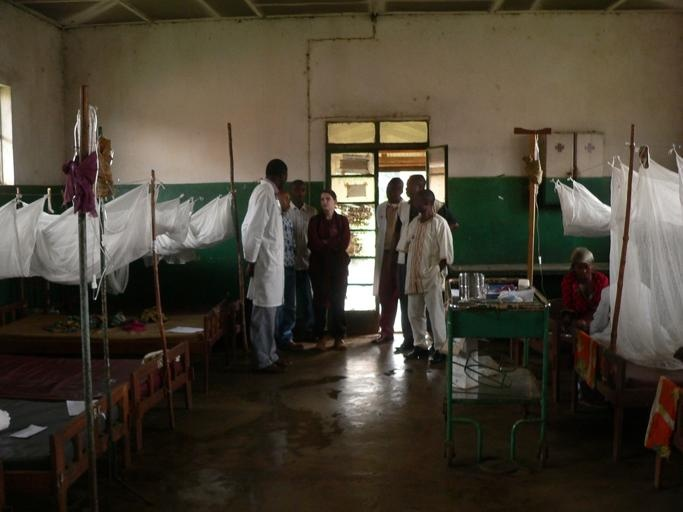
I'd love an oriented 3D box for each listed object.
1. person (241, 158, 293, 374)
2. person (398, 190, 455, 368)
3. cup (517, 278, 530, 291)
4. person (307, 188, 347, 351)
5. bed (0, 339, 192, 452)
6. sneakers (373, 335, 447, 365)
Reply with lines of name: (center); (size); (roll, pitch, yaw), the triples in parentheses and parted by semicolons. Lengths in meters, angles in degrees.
person: (-0.766, 0.210, 6.431); (0.412, 1.940, 0.352); (-5, 14, -17)
person: (0.884, 0.353, 6.642); (0.612, 1.578, 0.379); (6, 15, 28)
cup: (1.574, 0.240, 5.445); (0.098, 0.114, 0.192); (0, 0, 14)
person: (-0.133, 0.157, 7.251); (0.464, 1.754, 0.453); (-1, 13, -2)
bed: (-2.098, 1.087, 5.311); (1.383, 0.528, 0.872); (2, 4, 6)
sneakers: (0.868, 1.043, 6.794); (0.477, 0.219, 0.164); (4, 1, 8)
